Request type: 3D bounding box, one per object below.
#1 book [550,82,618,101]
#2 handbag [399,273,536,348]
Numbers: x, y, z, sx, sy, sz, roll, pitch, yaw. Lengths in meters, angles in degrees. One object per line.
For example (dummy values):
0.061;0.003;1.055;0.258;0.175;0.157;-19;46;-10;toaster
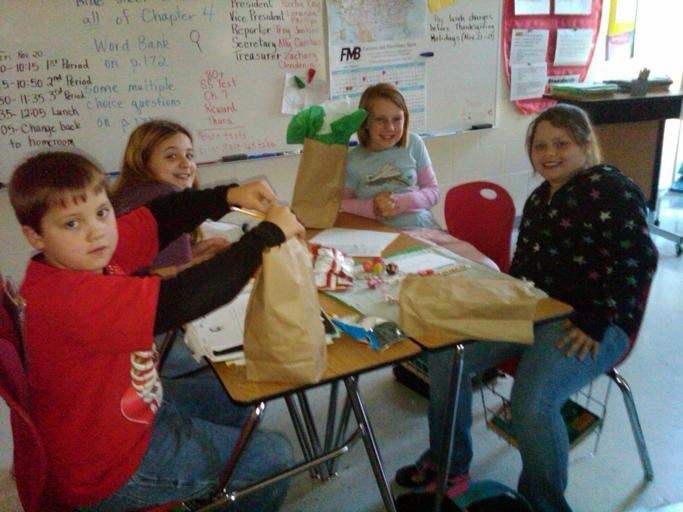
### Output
1.720;-1.176;3.670;0.469;0.103;0.508;2;19;20;book
0.367;0.141;1.458;0.289;0.087;0.217;2;20;4;handbag
